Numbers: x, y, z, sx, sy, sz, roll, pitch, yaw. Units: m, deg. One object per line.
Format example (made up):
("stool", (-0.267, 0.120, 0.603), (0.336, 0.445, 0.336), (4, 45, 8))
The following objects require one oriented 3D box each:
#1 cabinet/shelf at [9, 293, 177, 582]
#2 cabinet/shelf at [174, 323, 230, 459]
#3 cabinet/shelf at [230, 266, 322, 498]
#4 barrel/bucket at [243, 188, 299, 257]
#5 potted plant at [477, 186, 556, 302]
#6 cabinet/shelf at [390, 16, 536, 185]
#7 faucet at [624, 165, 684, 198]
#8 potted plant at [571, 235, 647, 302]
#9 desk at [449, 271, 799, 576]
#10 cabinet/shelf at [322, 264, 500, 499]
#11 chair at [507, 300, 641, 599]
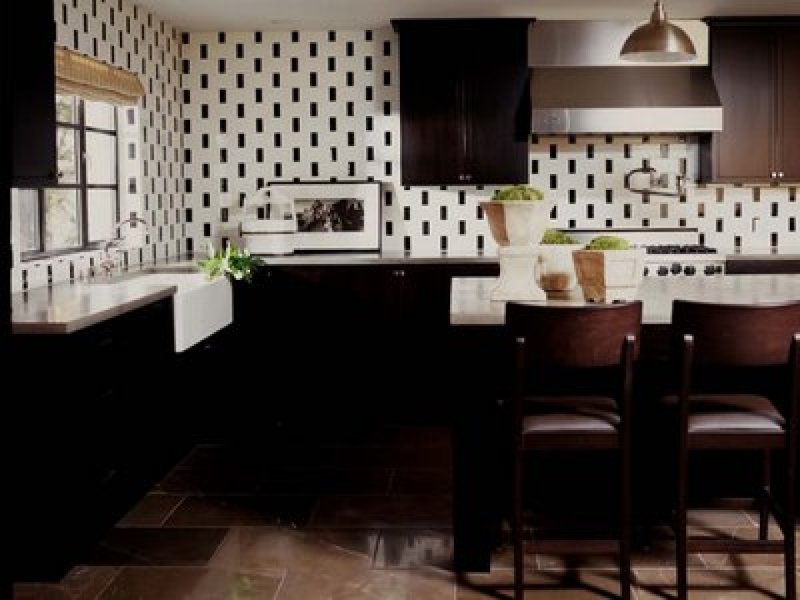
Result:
("cabinet/shelf", (-1.369, 0.599, 3.148), (0.181, 0.580, 1.123), (-1, 4, -1))
("cabinet/shelf", (-1.206, 0.540, 4.339), (0.163, 0.790, 0.499), (4, -28, -4))
("cabinet/shelf", (-0.914, 0.673, 5.347), (0.767, 1.487, 0.875), (6, -34, -18))
("barrel/bucket", (-0.988, -0.597, 5.439), (0.414, 0.486, 0.616), (-2, 9, -11))
("potted plant", (0.500, -0.254, 3.127), (0.310, 0.476, 0.305), (-7, 13, -25))
("cabinet/shelf", (0.476, -1.389, 5.524), (0.978, 1.276, 0.579), (-1, -11, 4))
("faucet", (2.000, -0.918, 5.681), (0.372, 0.251, 0.145), (1, 19, 3))
("potted plant", (0.825, -0.129, 3.018), (0.260, 0.348, 0.261), (-1, 3, -7))
("desk", (0.910, 0.367, 3.398), (1.912, 1.468, 1.113), (0, 1, 1))
("cabinet/shelf", (0.043, 0.432, 4.229), (1.078, 1.579, 0.970), (-1, -2, 3))
("chair", (0.672, 0.570, 2.897), (0.524, 1.211, 0.615), (1, 8, 15))
